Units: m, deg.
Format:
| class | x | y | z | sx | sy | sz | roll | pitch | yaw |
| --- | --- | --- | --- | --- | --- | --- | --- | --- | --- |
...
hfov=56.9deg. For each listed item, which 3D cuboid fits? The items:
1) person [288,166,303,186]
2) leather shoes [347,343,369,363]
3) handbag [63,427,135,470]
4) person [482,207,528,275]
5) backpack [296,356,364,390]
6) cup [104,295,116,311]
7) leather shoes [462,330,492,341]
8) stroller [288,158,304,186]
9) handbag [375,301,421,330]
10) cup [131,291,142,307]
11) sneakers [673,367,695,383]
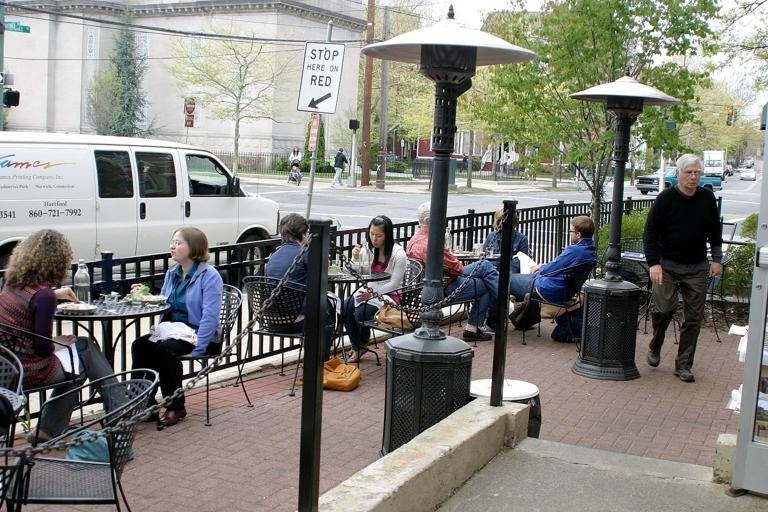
| class | x | y | z | sx | sy | sz | roll | pitch | yaw |
| --- | --- | --- | --- | --- | --- | --- | --- | --- | --- |
| person | -4.642 | -4.195 | 37.033 | 0.551 | 0.735 | 1.235 | 1 | 11 | -2 |
| leather shoes | -0.327 | 1.240 | 9.011 | 0.125 | 0.144 | 0.359 | -12 | 4 | 35 |
| handbag | -2.358 | 1.615 | 5.861 | 0.641 | 0.211 | 0.460 | 10 | -11 | -13 |
| person | 1.816 | -0.218 | 10.718 | 0.749 | 1.118 | 0.618 | 2 | 2 | 1 |
| backpack | -0.565 | 1.379 | 8.070 | 0.605 | 0.289 | 0.783 | 0 | -1 | 28 |
| cup | -2.818 | 0.485 | 7.246 | 0.102 | 0.128 | 0.124 | 3 | 5 | -5 |
| leather shoes | 1.360 | 1.137 | 10.309 | 0.400 | 0.184 | 0.167 | 0 | 1 | -18 |
| stroller | -4.645 | -4.446 | 37.372 | 0.660 | 0.898 | 1.501 | 2 | 9 | 2 |
| handbag | 0.172 | 0.733 | 8.519 | 0.489 | 0.170 | 0.372 | 2 | 1 | -26 |
| cup | -2.510 | 0.460 | 7.199 | 0.114 | 0.119 | 0.102 | 2 | 1 | -12 |
| sneakers | 3.717 | 1.466 | 8.750 | 0.117 | 0.112 | 0.258 | -5 | 2 | -14 |
